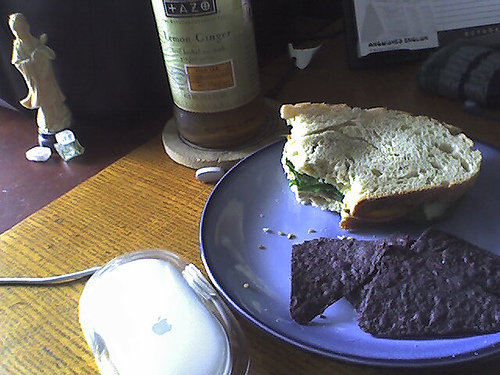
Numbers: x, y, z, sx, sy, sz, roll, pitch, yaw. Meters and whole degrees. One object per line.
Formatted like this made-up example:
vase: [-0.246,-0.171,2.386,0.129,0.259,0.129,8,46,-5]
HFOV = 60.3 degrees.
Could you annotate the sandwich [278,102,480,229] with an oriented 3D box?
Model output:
sandwich: [0.214,-0.045,0.870,0.339,0.202,0.261,-2,25,-9]
